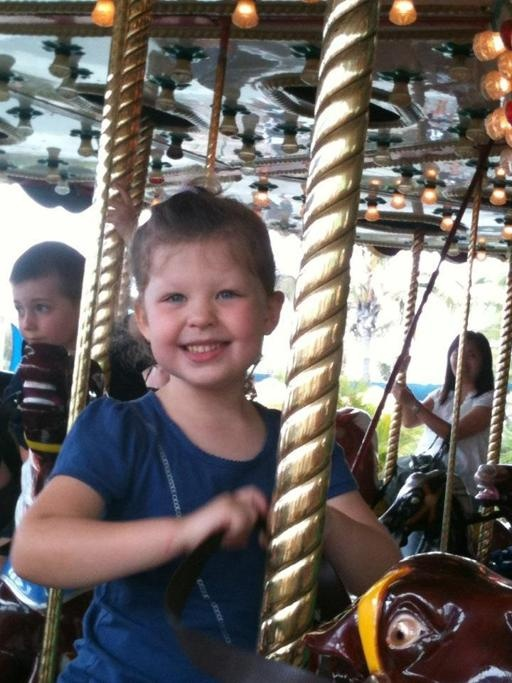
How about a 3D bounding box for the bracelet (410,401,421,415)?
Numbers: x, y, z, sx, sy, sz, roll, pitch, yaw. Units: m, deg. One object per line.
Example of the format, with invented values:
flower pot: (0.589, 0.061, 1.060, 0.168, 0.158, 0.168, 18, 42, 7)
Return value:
bracelet: (1.087, 0.456, 4.699, 0.051, 0.061, 0.072, -3, 10, 5)
